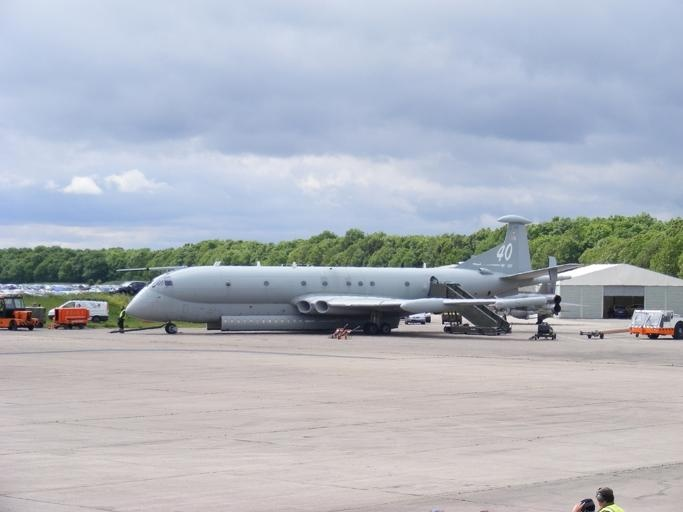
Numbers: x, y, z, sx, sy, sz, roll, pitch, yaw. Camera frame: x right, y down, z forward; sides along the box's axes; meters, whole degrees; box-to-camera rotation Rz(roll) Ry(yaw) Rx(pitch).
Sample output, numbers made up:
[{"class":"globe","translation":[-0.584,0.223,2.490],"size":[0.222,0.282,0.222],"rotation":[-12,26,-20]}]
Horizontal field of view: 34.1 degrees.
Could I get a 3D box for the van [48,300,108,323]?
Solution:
[{"class":"van","translation":[-15.517,3.299,65.667],"size":[3.347,0.921,1.436],"rotation":[1,-2,-10]}]
